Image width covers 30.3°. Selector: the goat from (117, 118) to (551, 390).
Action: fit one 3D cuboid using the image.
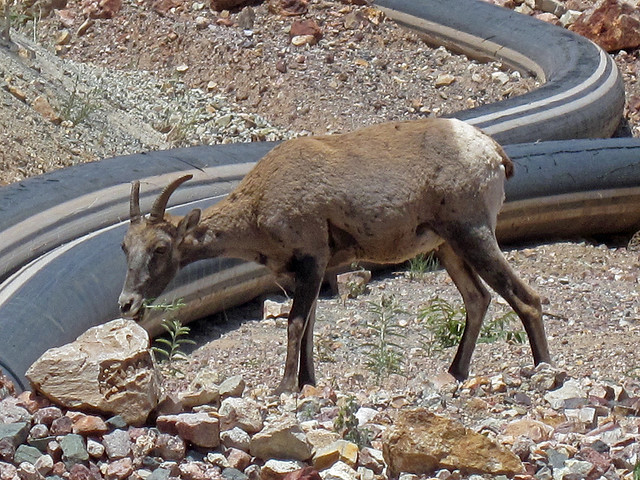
[{"bbox_3d":[0.140,0.047,10.231,3.288,1.607,1.317,-9,34,-2],"label":"goat"}]
